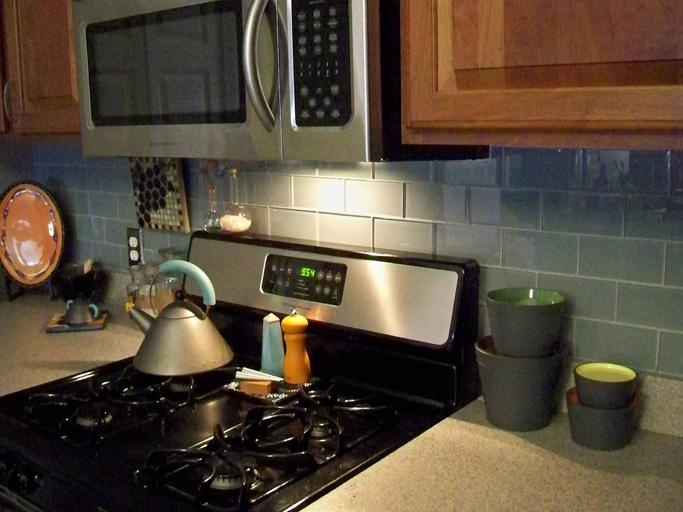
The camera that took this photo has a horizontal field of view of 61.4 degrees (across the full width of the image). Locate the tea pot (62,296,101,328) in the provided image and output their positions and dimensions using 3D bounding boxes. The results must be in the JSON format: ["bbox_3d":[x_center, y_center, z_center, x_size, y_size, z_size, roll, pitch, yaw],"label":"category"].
[{"bbox_3d":[-0.952,0.207,2.114,0.091,0.088,0.114,0,-2,33],"label":"tea pot"}]

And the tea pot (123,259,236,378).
[{"bbox_3d":[-0.434,0.144,1.497,0.257,0.283,0.240,-1,3,0],"label":"tea pot"}]

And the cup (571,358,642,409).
[{"bbox_3d":[0.565,0.266,1.230,0.094,0.053,0.102,2,-6,0],"label":"cup"}]

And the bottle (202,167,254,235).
[{"bbox_3d":[-0.373,-0.178,1.850,0.189,0.201,0.088,9,15,40],"label":"bottle"}]

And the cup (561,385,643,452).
[{"bbox_3d":[0.569,0.362,1.269,0.136,0.095,0.146,1,6,0],"label":"cup"}]

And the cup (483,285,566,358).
[{"bbox_3d":[0.420,0.138,1.309,0.164,0.113,0.142,-1,0,-44],"label":"cup"}]

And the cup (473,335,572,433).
[{"bbox_3d":[0.401,0.283,1.354,0.185,0.152,0.185,-1,1,0],"label":"cup"}]
